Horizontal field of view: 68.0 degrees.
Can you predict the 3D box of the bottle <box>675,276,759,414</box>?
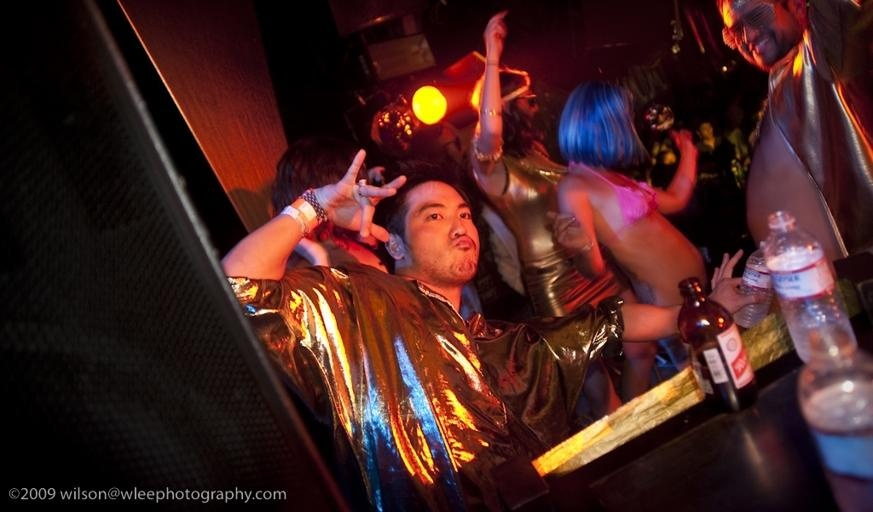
[{"bbox_3d":[0.697,0.226,1.632,0.126,0.292,0.207,-17,2,16],"label":"bottle"}]
